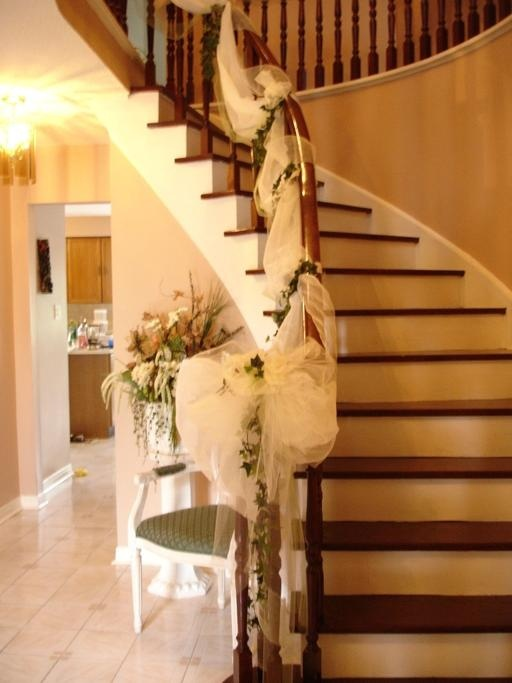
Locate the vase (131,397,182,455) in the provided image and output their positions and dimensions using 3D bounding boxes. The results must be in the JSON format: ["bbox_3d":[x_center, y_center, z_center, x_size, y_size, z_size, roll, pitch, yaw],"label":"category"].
[{"bbox_3d":[-0.400,0.371,2.842,0.186,0.292,0.190,-6,-11,39],"label":"vase"}]

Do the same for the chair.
[{"bbox_3d":[-0.293,0.774,2.650,0.440,0.766,0.501,-1,5,-22],"label":"chair"}]

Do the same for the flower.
[{"bbox_3d":[-0.391,0.005,2.907,0.604,0.420,0.532,-30,13,-21],"label":"flower"}]
